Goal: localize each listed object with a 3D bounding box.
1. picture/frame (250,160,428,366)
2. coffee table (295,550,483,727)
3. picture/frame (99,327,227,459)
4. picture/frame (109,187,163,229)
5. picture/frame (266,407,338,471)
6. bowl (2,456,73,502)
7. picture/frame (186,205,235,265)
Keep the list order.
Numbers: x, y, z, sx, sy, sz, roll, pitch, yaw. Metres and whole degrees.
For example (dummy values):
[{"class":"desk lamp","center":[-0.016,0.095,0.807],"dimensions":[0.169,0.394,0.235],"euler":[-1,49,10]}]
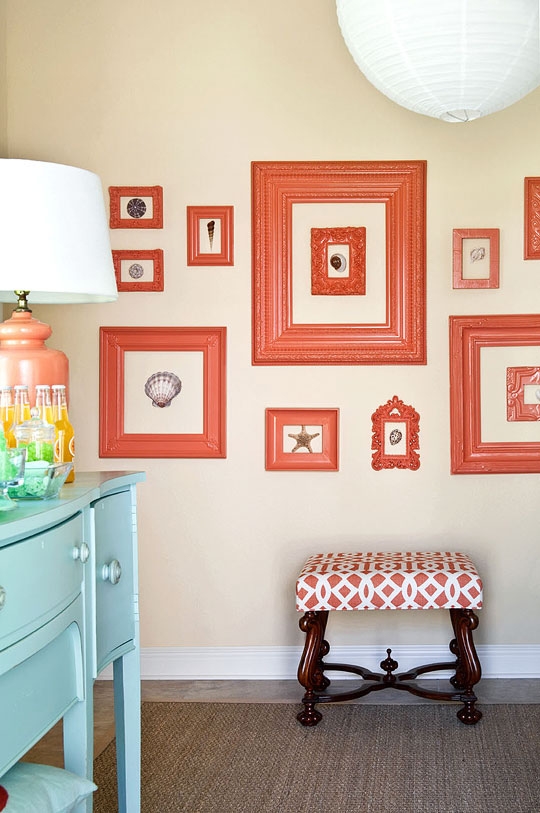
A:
[{"class":"picture/frame","center":[0.289,-0.601,2.684],"dimensions":[0.799,0.944,0.068],"euler":[0,3,3]},{"class":"coffee table","center":[0.414,0.705,2.514],"dimensions":[0.756,0.641,0.506],"euler":[0,-4,2]},{"class":"picture/frame","center":[-0.422,-0.057,2.716],"dimensions":[0.523,0.543,0.040],"euler":[0,-1,1]},{"class":"picture/frame","center":[-0.540,-0.808,2.704],"dimensions":[0.179,0.154,0.030],"euler":[0,2,3]},{"class":"picture/frame","center":[0.133,0.138,2.701],"dimensions":[0.253,0.217,0.021],"euler":[0,-1,2]},{"class":"bowl","center":[-0.384,0.125,1.120],"dimensions":[0.104,0.064,0.073],"euler":[1,-3,-33]},{"class":"picture/frame","center":[-0.242,-0.701,2.697],"dimensions":[0.236,0.292,0.022],"euler":[0,2,-2]}]
